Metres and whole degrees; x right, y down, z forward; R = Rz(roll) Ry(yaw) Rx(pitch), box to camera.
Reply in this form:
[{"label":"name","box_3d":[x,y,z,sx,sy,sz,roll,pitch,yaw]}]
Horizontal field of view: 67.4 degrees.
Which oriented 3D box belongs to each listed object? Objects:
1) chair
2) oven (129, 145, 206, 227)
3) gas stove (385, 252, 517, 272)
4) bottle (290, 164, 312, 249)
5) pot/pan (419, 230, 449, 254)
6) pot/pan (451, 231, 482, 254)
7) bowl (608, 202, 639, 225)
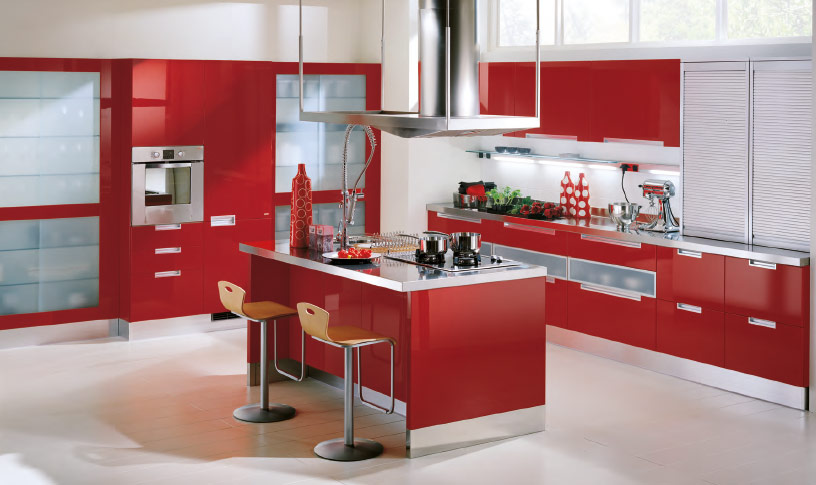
[{"label":"chair","box_3d":[-0.876,1.205,5.679,0.524,0.892,1.570,-8,12,-43]},{"label":"oven","box_3d":[-2.833,-0.719,7.715,1.079,0.921,0.715,0,2,9]},{"label":"gas stove","box_3d":[0.375,0.169,5.483,1.263,0.062,0.568,4,13,14]},{"label":"bottle","box_3d":[-1.062,-0.352,6.039,0.217,0.811,0.315,-2,13,-11]},{"label":"pot/pan","box_3d":[0.234,0.010,5.596,0.257,0.181,0.319,0,13,-1]},{"label":"pot/pan","box_3d":[0.509,-0.003,5.439,0.215,0.115,0.199,0,6,-5]},{"label":"bowl","box_3d":[2.523,-0.344,7.101,0.333,0.190,0.246,0,2,-24]}]
